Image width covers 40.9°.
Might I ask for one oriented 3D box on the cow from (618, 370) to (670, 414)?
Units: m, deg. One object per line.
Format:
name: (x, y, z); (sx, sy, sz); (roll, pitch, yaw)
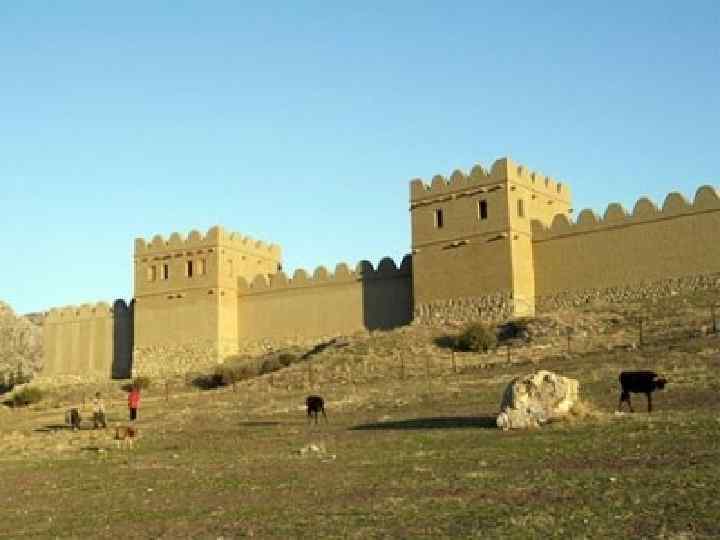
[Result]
cow: (6.115, 2.634, 21.235); (1.386, 1.132, 0.703); (-1, -3, -5)
